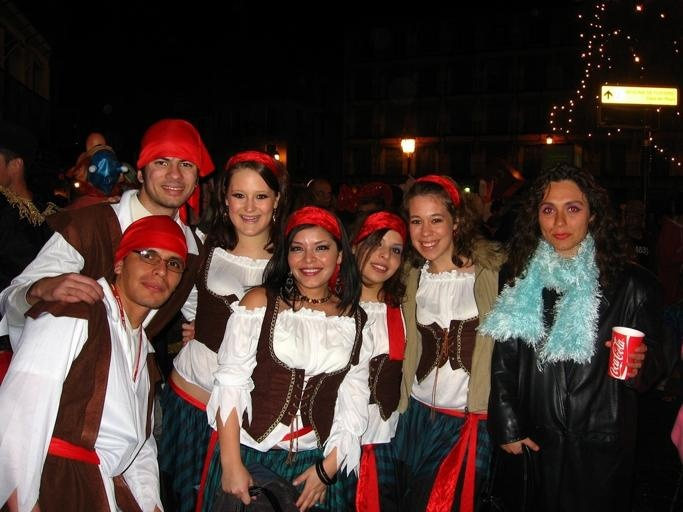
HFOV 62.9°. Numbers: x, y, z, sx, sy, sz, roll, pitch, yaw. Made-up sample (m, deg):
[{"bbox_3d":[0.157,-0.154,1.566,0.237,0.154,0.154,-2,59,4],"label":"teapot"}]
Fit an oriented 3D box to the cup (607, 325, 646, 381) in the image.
[{"bbox_3d":[1.943,0.661,3.791,0.192,0.340,0.265,0,-12,14],"label":"cup"}]
